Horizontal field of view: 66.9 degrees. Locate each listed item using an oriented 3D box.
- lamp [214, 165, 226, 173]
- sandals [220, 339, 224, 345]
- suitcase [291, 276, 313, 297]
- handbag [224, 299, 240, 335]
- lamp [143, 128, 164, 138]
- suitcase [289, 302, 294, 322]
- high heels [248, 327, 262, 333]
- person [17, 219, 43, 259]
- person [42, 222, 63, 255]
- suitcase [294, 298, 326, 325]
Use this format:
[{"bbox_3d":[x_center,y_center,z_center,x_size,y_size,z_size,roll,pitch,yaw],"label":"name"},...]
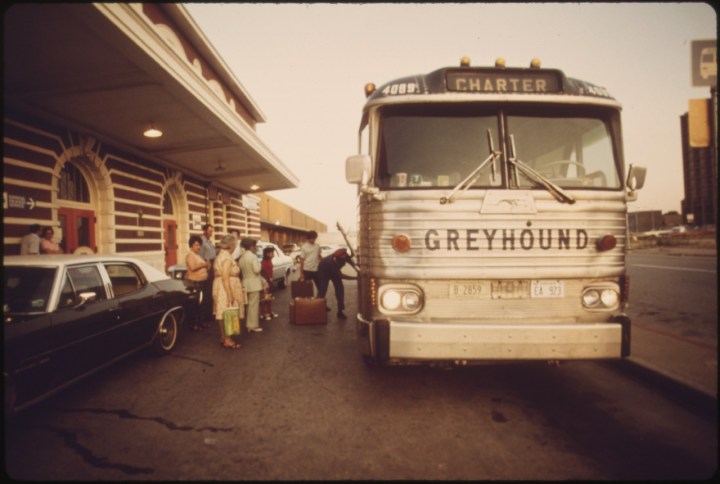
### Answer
[{"bbox_3d":[-5.033,-2.589,19.472,0.386,0.235,0.387,0,-3,-2],"label":"lamp"},{"bbox_3d":[-2.736,1.993,10.787,0.025,0.097,0.101,8,-4,-25],"label":"sandals"},{"bbox_3d":[-1.376,1.108,12.876,0.485,0.387,0.678,-3,8,-12],"label":"suitcase"},{"bbox_3d":[-2.502,1.544,10.576,0.326,0.635,0.228,-4,8,-17],"label":"handbag"},{"bbox_3d":[-5.718,-3.002,15.007,0.498,0.194,0.992,-4,9,-20],"label":"lamp"},{"bbox_3d":[-1.500,1.600,12.098,0.094,0.476,0.165,-3,8,-12],"label":"suitcase"},{"bbox_3d":[-2.237,1.877,11.595,0.273,0.093,0.105,-4,-1,4],"label":"high heels"},{"bbox_3d":[-7.391,-0.039,12.157,0.551,1.077,0.405,12,14,7],"label":"person"},{"bbox_3d":[-7.473,-0.090,13.157,0.387,0.610,1.877,-5,9,-24],"label":"person"},{"bbox_3d":[-1.124,1.558,12.038,0.547,0.454,0.182,0,4,-6],"label":"suitcase"}]
